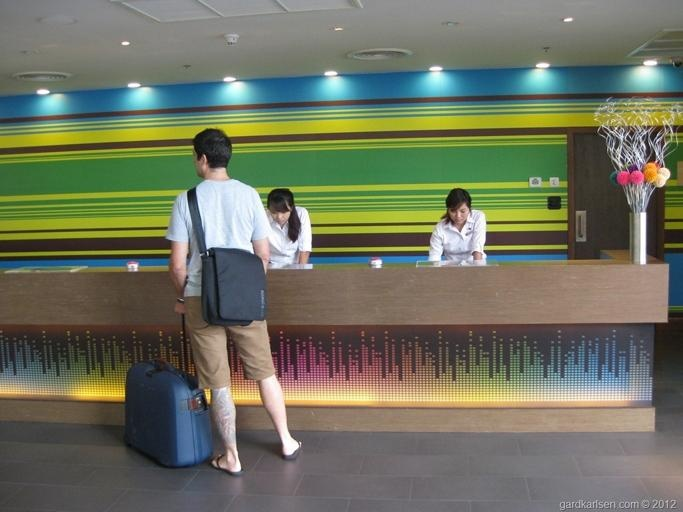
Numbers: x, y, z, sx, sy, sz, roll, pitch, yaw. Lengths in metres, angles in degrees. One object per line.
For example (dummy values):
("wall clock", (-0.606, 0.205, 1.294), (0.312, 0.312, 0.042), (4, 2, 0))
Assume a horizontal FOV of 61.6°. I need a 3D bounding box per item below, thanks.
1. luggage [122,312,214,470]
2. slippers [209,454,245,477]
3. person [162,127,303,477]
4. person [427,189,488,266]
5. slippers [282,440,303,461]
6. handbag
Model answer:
("luggage", (-1.199, 1.097, 4.044), (0.735, 0.629, 0.417), (7, 7, 37))
("slippers", (-0.743, 1.392, 3.783), (0.229, 0.058, 0.097), (20, 17, 33))
("person", (-0.705, 0.292, 3.749), (0.747, 2.221, 0.551), (-6, 13, -16))
("person", (0.951, -0.233, 4.692), (0.442, 0.636, 0.827), (0, 12, 10))
("slippers", (-0.337, 1.328, 3.884), (0.115, 0.093, 0.328), (0, -6, 6))
("handbag", (-0.695, 0.178, 3.647), (0.293, 0.481, 0.431), (-2, -2, 30))
